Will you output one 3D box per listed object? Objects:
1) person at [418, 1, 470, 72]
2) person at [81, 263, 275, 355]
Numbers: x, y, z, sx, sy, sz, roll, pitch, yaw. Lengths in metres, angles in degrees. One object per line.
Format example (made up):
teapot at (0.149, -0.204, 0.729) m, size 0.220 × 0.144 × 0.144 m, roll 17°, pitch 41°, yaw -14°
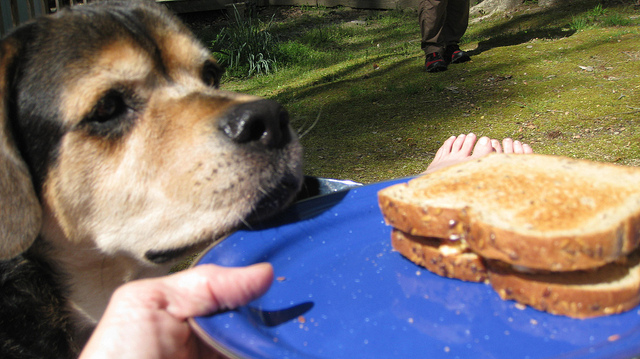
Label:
person at (1.731, -2.060, 8.896) m, size 0.702 × 0.792 × 1.335 m, roll 0°, pitch 34°, yaw 12°
person at (-1.012, 0.793, 4.268) m, size 0.785 × 0.319 × 0.787 m, roll -2°, pitch 5°, yaw 44°
